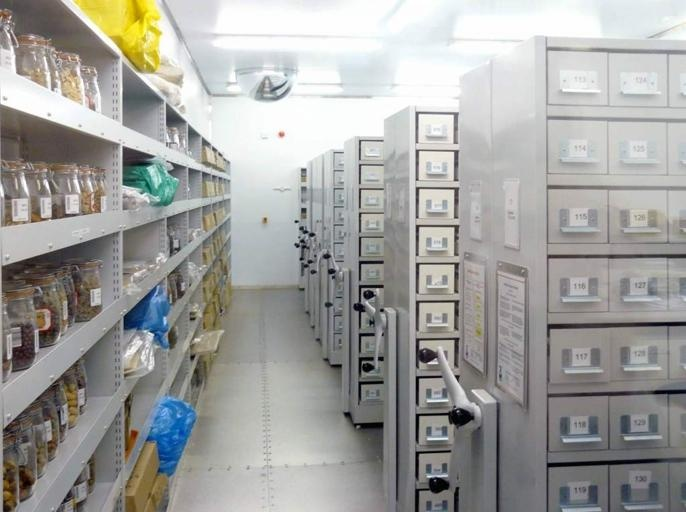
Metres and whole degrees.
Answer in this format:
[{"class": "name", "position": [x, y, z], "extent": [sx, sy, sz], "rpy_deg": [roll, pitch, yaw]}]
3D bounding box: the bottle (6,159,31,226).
[{"class": "bottle", "position": [-0.860, -0.169, 1.383], "extent": [0.058, 0.161, 0.152], "rpy_deg": [-4, 8, -31]}]

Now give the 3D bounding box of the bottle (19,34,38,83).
[{"class": "bottle", "position": [-0.924, -0.580, 1.531], "extent": [0.052, 0.136, 0.052], "rpy_deg": [0, 7, 0]}]

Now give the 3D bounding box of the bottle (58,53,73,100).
[{"class": "bottle", "position": [-0.943, -0.615, 1.776], "extent": [0.039, 0.161, 0.105], "rpy_deg": [-3, 8, -28]}]

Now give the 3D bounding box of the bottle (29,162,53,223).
[{"class": "bottle", "position": [-0.882, -0.190, 1.527], "extent": [0.051, 0.162, 0.158], "rpy_deg": [-4, 8, -31]}]

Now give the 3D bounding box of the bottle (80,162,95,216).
[{"class": "bottle", "position": [-0.890, -0.231, 1.818], "extent": [0.037, 0.161, 0.122], "rpy_deg": [-1, 7, -13]}]

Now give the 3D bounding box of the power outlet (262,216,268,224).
[{"class": "power outlet", "position": [-1.391, -0.641, 9.352], "extent": [0.103, 0.160, 0.108], "rpy_deg": [-1, 4, -6]}]

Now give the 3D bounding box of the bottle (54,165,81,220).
[{"class": "bottle", "position": [-0.881, -0.212, 1.668], "extent": [0.070, 0.164, 0.119], "rpy_deg": [-3, 8, -30]}]

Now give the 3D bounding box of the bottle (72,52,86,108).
[{"class": "bottle", "position": [-0.916, -0.611, 1.828], "extent": [0.032, 0.178, 0.150], "rpy_deg": [-3, 8, -26]}]

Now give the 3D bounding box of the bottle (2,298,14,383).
[{"class": "bottle", "position": [-0.834, 0.202, 1.297], "extent": [0.025, 0.174, 0.257], "rpy_deg": [-4, 8, -32]}]

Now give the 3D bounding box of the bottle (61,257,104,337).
[{"class": "bottle", "position": [-0.911, 0.116, 1.865], "extent": [0.094, 0.198, 0.155], "rpy_deg": [-3, 8, -27]}]
